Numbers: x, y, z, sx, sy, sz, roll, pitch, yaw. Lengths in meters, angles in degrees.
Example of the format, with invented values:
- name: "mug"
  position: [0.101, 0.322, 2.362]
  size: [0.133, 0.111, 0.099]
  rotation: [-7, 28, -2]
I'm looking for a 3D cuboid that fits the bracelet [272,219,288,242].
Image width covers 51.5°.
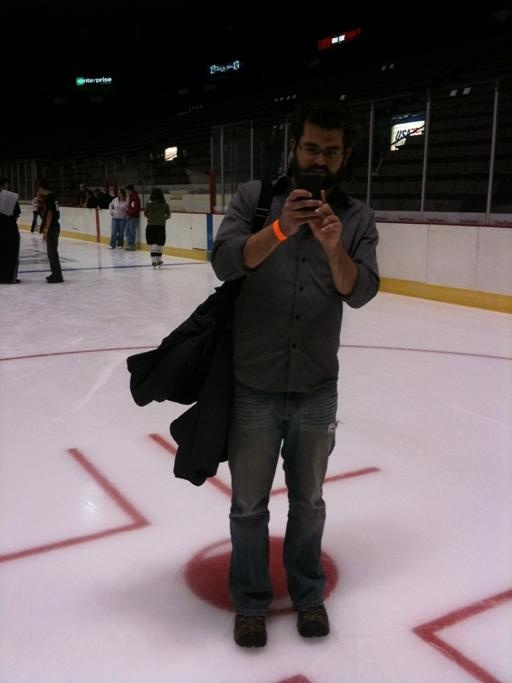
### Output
- name: "bracelet"
  position: [0.051, -0.235, 1.141]
  size: [0.015, 0.042, 0.031]
  rotation: [-33, -25, 6]

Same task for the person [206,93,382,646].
- name: "person"
  position: [0.095, 0.133, 1.379]
  size: [0.402, 1.368, 0.458]
  rotation: [2, 7, 20]

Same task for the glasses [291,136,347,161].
- name: "glasses"
  position: [0.152, -0.454, 1.249]
  size: [0.075, 0.022, 0.074]
  rotation: [4, 4, -6]

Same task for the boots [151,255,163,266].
- name: "boots"
  position: [-2.235, -1.832, 12.101]
  size: [0.225, 0.184, 0.522]
  rotation: [2, 9, -25]

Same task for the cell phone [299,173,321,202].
- name: "cell phone"
  position: [0.114, -0.327, 1.124]
  size: [0.045, 0.062, 0.057]
  rotation: [0, 6, 1]
